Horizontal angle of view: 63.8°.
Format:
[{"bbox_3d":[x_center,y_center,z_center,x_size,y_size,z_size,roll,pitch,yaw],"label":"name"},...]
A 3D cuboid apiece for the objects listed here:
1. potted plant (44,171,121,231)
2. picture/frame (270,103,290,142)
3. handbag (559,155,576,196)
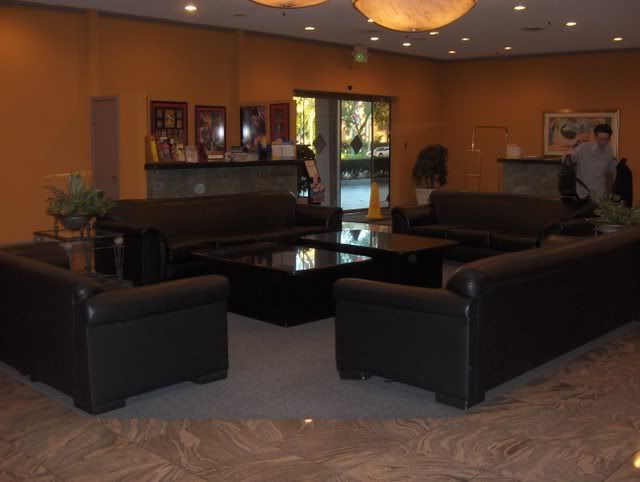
[{"bbox_3d":[-2.603,-0.463,5.686,0.892,0.766,0.895,0,7,-9],"label":"potted plant"},{"bbox_3d":[-0.720,-2.117,9.096,0.474,0.639,0.119,8,14,36],"label":"picture/frame"},{"bbox_3d":[3.924,-1.049,8.096,0.266,0.598,0.639,5,13,26],"label":"handbag"}]
